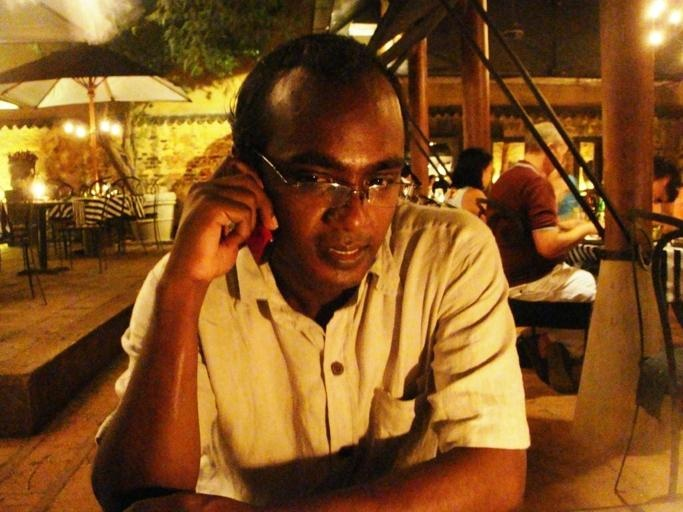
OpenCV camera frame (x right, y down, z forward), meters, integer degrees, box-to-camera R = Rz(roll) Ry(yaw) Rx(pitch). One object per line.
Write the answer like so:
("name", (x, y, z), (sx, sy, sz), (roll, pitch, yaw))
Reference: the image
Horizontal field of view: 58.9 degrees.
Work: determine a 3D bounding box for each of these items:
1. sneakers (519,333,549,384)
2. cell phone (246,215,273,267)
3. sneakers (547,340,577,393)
("sneakers", (1.696, 0.894, 5.264), (0.113, 0.344, 0.243), (-3, -7, -35))
("cell phone", (-0.337, -0.061, 2.594), (0.050, 0.174, 0.127), (6, -14, 23))
("sneakers", (1.794, 0.932, 4.933), (0.136, 0.473, 0.183), (-2, 3, 3))
